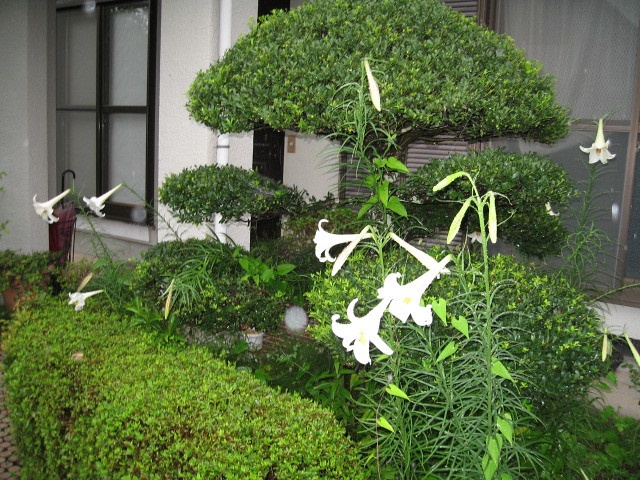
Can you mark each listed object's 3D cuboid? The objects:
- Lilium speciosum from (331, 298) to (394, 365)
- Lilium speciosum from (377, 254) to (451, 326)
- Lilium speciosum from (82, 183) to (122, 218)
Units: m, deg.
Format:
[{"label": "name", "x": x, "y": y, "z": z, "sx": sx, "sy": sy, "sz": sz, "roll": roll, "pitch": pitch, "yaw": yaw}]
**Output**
[{"label": "Lilium speciosum", "x": 0.155, "y": 0.328, "z": 1.903, "sx": 0.213, "sy": 0.311, "sz": 0.241, "roll": 5, "pitch": 8, "yaw": 32}, {"label": "Lilium speciosum", "x": 0.328, "y": 0.171, "z": 1.741, "sx": 0.235, "sy": 0.299, "sz": 0.179, "roll": 4, "pitch": 13, "yaw": 18}, {"label": "Lilium speciosum", "x": -1.619, "y": -0.340, "z": 3.784, "sx": 0.286, "sy": 0.185, "sz": 0.190, "roll": -30, "pitch": 15, "yaw": -3}]
